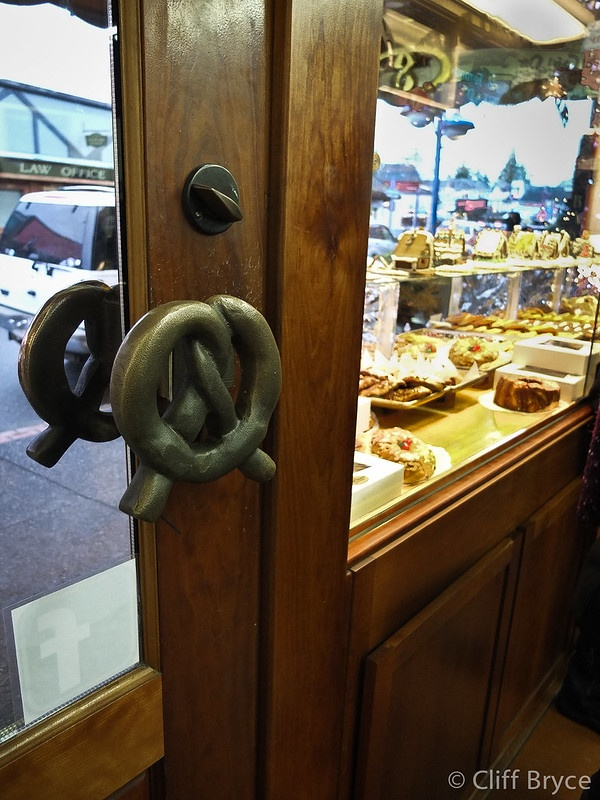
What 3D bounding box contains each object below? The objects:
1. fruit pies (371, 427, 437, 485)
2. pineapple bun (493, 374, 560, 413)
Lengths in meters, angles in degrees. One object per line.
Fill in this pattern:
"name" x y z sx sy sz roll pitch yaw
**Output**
"fruit pies" 0.191 0.107 1.260 0.125 0.057 0.145 -14 25 -39
"pineapple bun" 0.602 -0.034 1.743 0.108 0.055 0.146 4 10 6
